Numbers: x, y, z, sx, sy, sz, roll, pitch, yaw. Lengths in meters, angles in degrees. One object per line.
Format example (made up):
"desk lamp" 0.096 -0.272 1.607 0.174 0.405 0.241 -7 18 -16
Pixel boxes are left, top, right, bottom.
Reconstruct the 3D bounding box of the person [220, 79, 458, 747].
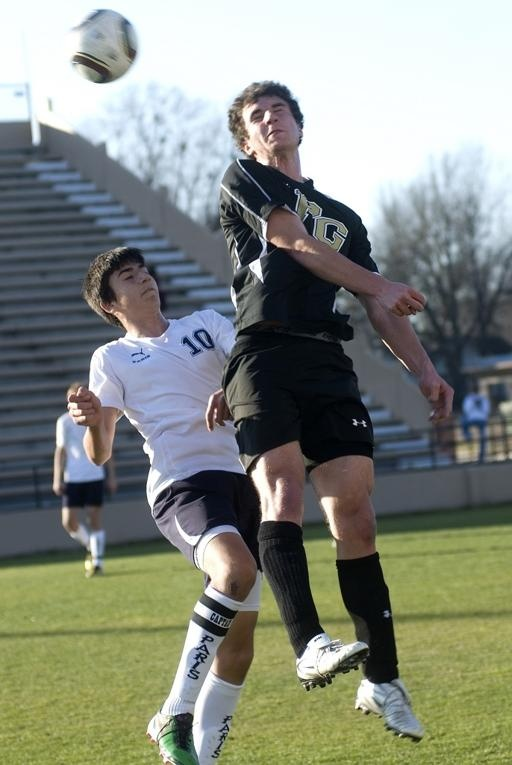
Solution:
"person" 0.195 0.000 3.275 0.596 2.074 0.957 -6 -1 -2

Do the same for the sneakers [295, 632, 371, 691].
"sneakers" 0.216 0.777 2.890 0.113 0.125 0.288 8 -35 -33

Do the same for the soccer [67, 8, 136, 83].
"soccer" -0.839 -1.808 5.496 0.369 0.359 0.292 -5 -1 0
